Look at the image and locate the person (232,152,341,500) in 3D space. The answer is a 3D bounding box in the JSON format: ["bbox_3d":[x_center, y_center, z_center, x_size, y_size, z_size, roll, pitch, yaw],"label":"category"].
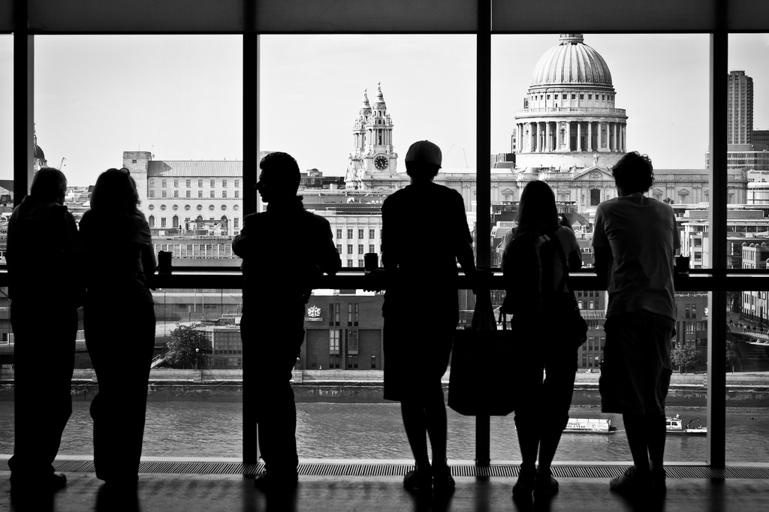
[{"bbox_3d":[-0.570,0.373,9.098,0.602,1.948,0.215,0,2,-5],"label":"person"}]

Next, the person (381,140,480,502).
[{"bbox_3d":[0.245,0.346,9.096,0.528,2.020,0.115,1,2,1],"label":"person"}]

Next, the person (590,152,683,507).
[{"bbox_3d":[1.436,0.505,9.147,0.490,1.745,0.223,1,2,8],"label":"person"}]

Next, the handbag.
[{"bbox_3d":[0.628,0.537,9.181,0.488,0.702,0.281,-1,4,28],"label":"handbag"}]

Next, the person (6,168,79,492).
[{"bbox_3d":[-1.986,0.411,9.151,0.538,1.855,0.271,2,2,34],"label":"person"}]

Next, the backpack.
[{"bbox_3d":[0.880,0.134,9.000,0.694,0.663,0.402,0,3,16],"label":"backpack"}]

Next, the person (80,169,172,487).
[{"bbox_3d":[-1.538,0.405,9.107,0.420,1.824,0.208,0,2,-9],"label":"person"}]

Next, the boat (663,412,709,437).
[{"bbox_3d":[1.915,1.073,10.102,0.143,0.121,0.402,1,1,-19],"label":"boat"}]

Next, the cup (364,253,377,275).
[{"bbox_3d":[-0.081,0.033,9.553,0.082,0.115,0.164,0,2,-2],"label":"cup"}]
